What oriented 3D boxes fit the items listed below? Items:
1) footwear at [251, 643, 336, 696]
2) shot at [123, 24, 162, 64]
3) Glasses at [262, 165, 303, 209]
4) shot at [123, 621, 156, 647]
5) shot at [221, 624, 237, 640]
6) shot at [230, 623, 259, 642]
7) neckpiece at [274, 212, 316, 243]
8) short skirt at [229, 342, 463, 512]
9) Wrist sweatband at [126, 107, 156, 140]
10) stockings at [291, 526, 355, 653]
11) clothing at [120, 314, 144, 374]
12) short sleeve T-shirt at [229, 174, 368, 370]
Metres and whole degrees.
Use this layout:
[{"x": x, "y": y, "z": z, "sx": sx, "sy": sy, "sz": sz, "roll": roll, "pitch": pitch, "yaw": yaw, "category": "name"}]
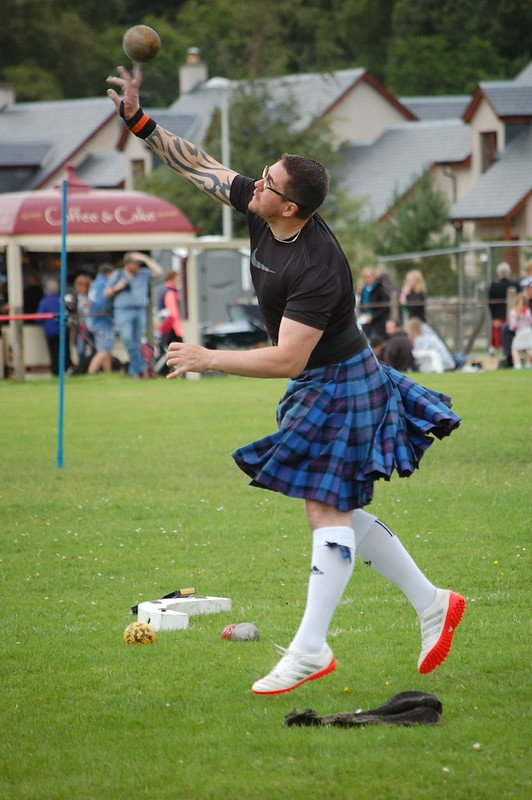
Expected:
[{"x": 0.095, "y": 0.847, "z": 5.082, "sx": 0.216, "sy": 0.103, "sz": 0.075, "roll": -29, "pitch": 19, "yaw": -6, "category": "footwear"}, {"x": -0.442, "y": -1.229, "z": 5.733, "sx": 0.127, "sy": 0.158, "sz": 0.125, "roll": 4, "pitch": -5, "yaw": -40, "category": "shot"}, {"x": 0.050, "y": -0.623, "z": 4.937, "sx": 0.126, "sy": 0.037, "sz": 0.124, "roll": 32, "pitch": 14, "yaw": -15, "category": "Glasses"}, {"x": -0.441, "y": 0.818, "z": 5.704, "sx": 0.074, "sy": 0.062, "sz": 0.077, "roll": 5, "pitch": -2, "yaw": -15, "category": "shot"}, {"x": -0.127, "y": 0.811, "z": 5.697, "sx": 0.039, "sy": 0.045, "sz": 0.052, "roll": -10, "pitch": -5, "yaw": 25, "category": "shot"}, {"x": -0.068, "y": 0.809, "z": 5.659, "sx": 0.062, "sy": 0.052, "sz": 0.065, "roll": 4, "pitch": -5, "yaw": -4, "category": "shot"}, {"x": 0.073, "y": -0.533, "z": 4.948, "sx": 0.122, "sy": 0.112, "sz": 0.094, "roll": -1, "pitch": 8, "yaw": -1, "category": "neckpiece"}, {"x": 0.184, "y": 0.048, "z": 5.186, "sx": 0.576, "sy": 0.437, "sz": 0.729, "roll": -2, "pitch": 13, "yaw": 2, "category": "short skirt"}, {"x": -0.416, "y": -0.928, "z": 5.491, "sx": 0.079, "sy": 0.042, "sz": 0.112, "roll": 4, "pitch": 22, "yaw": -16, "category": "Wrist sweatband"}, {"x": 0.177, "y": 0.571, "z": 5.019, "sx": 0.218, "sy": 0.376, "sz": 0.191, "roll": -1, "pitch": 8, "yaw": -3, "category": "stockings"}, {"x": -0.928, "y": -0.399, "z": 11.726, "sx": 0.169, "sy": 0.523, "sz": 0.150, "roll": -2, "pitch": -35, "yaw": -16, "category": "clothing"}, {"x": 0.121, "y": -0.322, "z": 5.003, "sx": 0.358, "sy": 0.472, "sz": 0.383, "roll": 0, "pitch": 8, "yaw": 6, "category": "short sleeve T-shirt"}]
